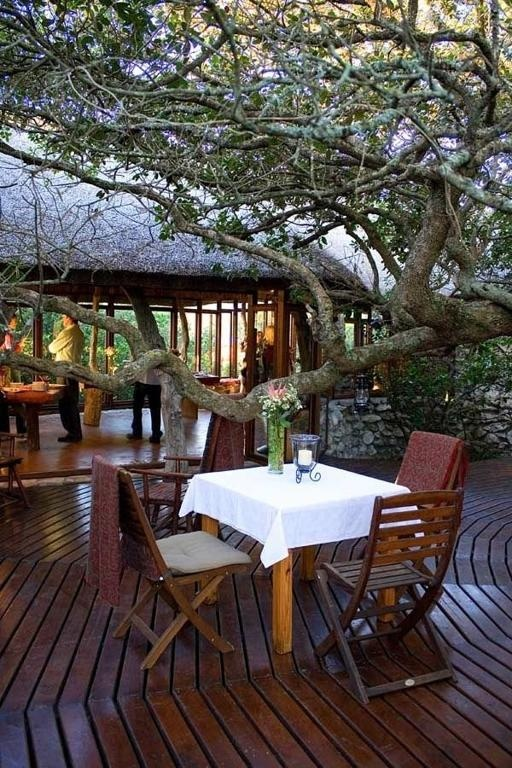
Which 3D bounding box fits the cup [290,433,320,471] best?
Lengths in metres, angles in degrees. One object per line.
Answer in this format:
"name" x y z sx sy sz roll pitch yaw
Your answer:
"cup" 0.300 0.441 3.248 0.253 0.275 0.205 2 -4 -27
